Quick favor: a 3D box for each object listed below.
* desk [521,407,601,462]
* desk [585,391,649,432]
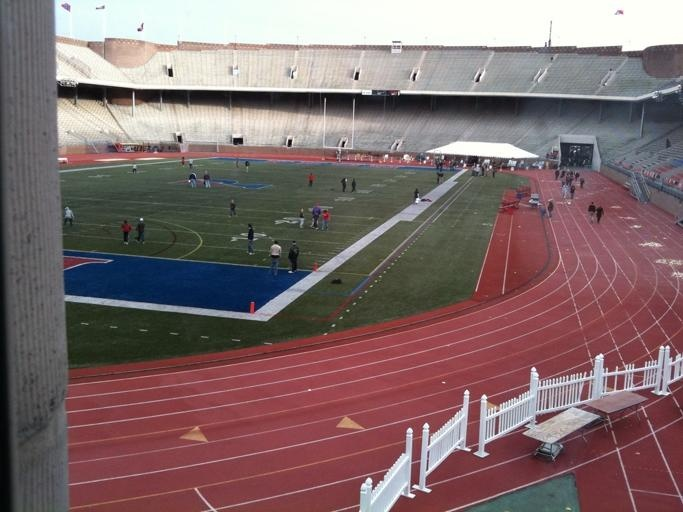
[{"bbox_3d":[4.108,3.176,11.226,1.746,0.290,0.745,-14,20,-36],"label":"desk"},{"bbox_3d":[5.450,2.921,12.113,1.494,0.268,0.700,-9,16,-29],"label":"desk"}]
